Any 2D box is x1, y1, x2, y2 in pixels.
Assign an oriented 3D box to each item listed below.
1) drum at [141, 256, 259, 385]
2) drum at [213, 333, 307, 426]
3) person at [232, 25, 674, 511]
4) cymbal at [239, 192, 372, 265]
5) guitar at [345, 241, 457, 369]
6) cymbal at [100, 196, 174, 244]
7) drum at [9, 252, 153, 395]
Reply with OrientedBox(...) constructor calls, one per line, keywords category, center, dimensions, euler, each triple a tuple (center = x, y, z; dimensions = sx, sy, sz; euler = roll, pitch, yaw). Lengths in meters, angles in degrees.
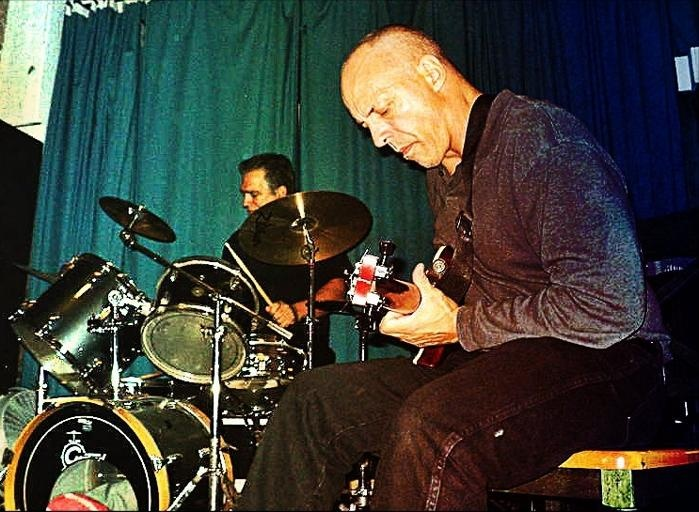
OrientedBox(category="drum", center=(-0.867, 0.408, 4.452), dimensions=(0.857, 0.729, 0.729), euler=(1, 33, -5))
OrientedBox(category="drum", center=(-0.508, 0.761, 4.605), dimensions=(0.584, 0.238, 0.668), euler=(1, -18, 10))
OrientedBox(category="person", center=(0.531, -0.036, 3.186), dimensions=(1.598, 2.272, 0.643), euler=(-6, -12, 20))
OrientedBox(category="cymbal", center=(-0.293, -0.216, 4.604), dimensions=(0.756, 0.090, 0.699), euler=(10, -39, -19))
OrientedBox(category="guitar", center=(0.212, 0.198, 3.282), dimensions=(0.229, 0.368, 0.725), euler=(33, 27, 6))
OrientedBox(category="cymbal", center=(-1.433, -0.249, 4.714), dimensions=(0.409, 0.172, 0.333), euler=(31, -9, -39))
OrientedBox(category="drum", center=(-1.674, 0.399, 4.259), dimensions=(0.747, 0.859, 0.388), euler=(1, -12, -15))
